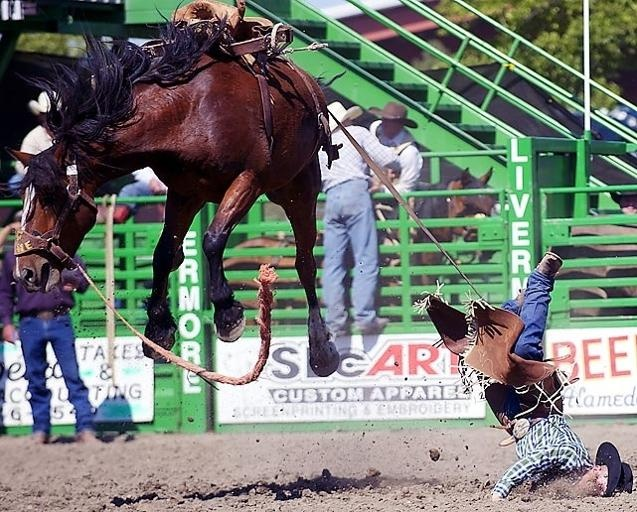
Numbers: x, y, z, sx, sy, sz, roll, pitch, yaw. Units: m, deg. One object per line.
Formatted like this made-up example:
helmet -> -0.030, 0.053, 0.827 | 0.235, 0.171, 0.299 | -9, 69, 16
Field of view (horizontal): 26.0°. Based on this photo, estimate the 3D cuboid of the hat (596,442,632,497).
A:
hat -> 2.647, 1.893, 12.372 | 0.330, 0.453, 0.293 | -1, 2, 15

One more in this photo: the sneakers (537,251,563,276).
sneakers -> 2.065, 0.078, 12.339 | 0.204, 0.228, 0.260 | -1, 2, 8
